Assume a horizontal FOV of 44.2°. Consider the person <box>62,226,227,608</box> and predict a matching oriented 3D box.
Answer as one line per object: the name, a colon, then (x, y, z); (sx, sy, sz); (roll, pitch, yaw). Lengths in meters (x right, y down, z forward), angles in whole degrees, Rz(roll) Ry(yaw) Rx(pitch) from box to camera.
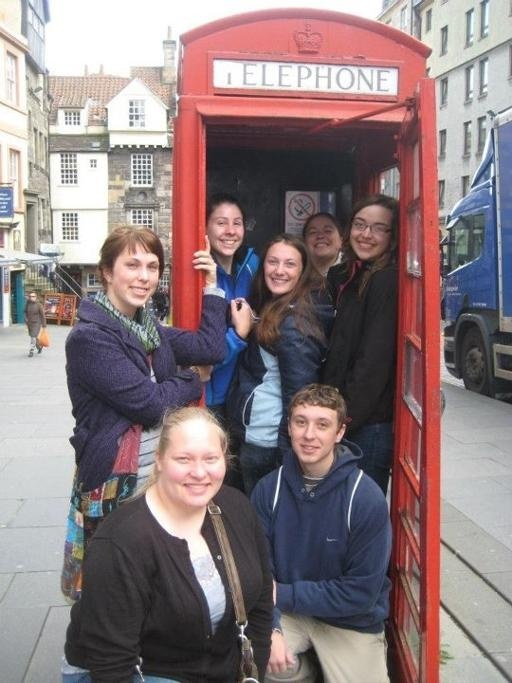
person: (-0.493, 0.394, 2.515); (0.533, 1.563, 0.474); (-5, 13, -36)
